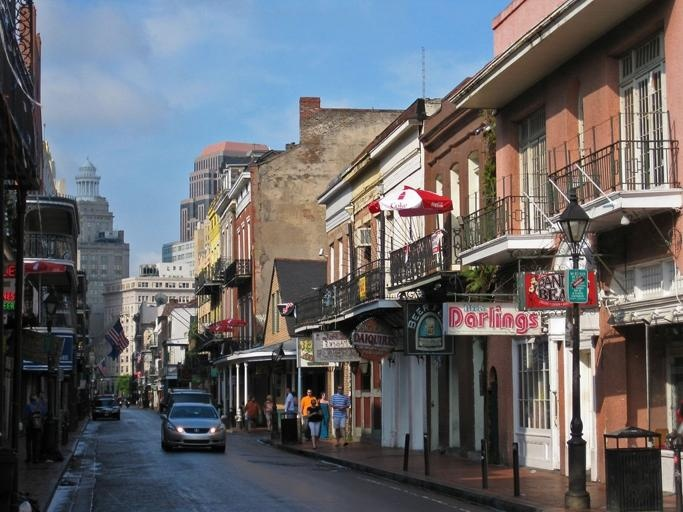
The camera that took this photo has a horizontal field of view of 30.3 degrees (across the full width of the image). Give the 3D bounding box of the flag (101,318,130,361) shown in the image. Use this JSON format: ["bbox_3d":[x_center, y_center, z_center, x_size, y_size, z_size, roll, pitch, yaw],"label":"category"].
[{"bbox_3d":[-12.850,4.718,71.638,1.506,3.121,0.318,28,-57,-28],"label":"flag"}]

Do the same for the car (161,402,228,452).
[{"bbox_3d":[-4.584,5.187,38.611,1.975,1.688,1.880,-9,-14,32],"label":"car"}]

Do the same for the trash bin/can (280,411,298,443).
[{"bbox_3d":[-1.853,5.745,41.863,0.637,1.374,0.740,1,-2,22],"label":"trash bin/can"}]

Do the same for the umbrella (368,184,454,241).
[{"bbox_3d":[2.108,-1.201,36.739,1.487,0.803,1.670,0,-11,-10],"label":"umbrella"}]
